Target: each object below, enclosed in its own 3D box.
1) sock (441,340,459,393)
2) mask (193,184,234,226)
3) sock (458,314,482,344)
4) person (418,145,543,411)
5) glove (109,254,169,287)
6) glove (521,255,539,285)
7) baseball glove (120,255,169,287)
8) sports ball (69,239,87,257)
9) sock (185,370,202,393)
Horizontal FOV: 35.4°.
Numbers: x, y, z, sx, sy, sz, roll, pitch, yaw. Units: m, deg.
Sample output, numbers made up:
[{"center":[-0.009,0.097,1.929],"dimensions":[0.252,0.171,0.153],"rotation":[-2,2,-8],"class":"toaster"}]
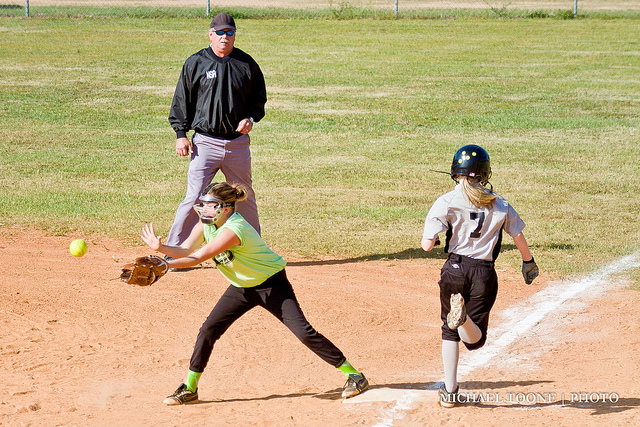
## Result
[{"center":[1.598,1.861,12.236],"dimensions":[0.195,0.640,0.150],"rotation":[2,13,6],"class":"sock"},{"center":[-1.267,-0.119,12.319],"dimensions":[0.617,0.497,0.455],"rotation":[-6,11,-15],"class":"mask"},{"center":[1.844,1.447,12.219],"dimensions":[0.162,0.429,0.188],"rotation":[-27,38,-5],"class":"sock"},{"center":[1.845,0.770,12.385],"dimensions":[1.123,3.156,0.713],"rotation":[-8,15,-33],"class":"person"},{"center":[-2.116,0.695,11.997],"dimensions":[0.525,0.317,0.240],"rotation":[-19,3,-12],"class":"glove"},{"center":[2.645,0.719,12.544],"dimensions":[0.135,0.281,0.236],"rotation":[4,-28,-34],"class":"glove"},{"center":[-2.170,0.666,12.288],"dimensions":[0.522,0.333,0.787],"rotation":[-17,9,-37],"class":"baseball glove"},{"center":[-3.164,0.472,13.134],"dimensions":[0.190,0.291,0.484],"rotation":[-2,12,-11],"class":"sports ball"},{"center":[-1.572,2.059,12.419],"dimensions":[0.196,0.274,0.141],"rotation":[-1,13,-7],"class":"sock"}]
